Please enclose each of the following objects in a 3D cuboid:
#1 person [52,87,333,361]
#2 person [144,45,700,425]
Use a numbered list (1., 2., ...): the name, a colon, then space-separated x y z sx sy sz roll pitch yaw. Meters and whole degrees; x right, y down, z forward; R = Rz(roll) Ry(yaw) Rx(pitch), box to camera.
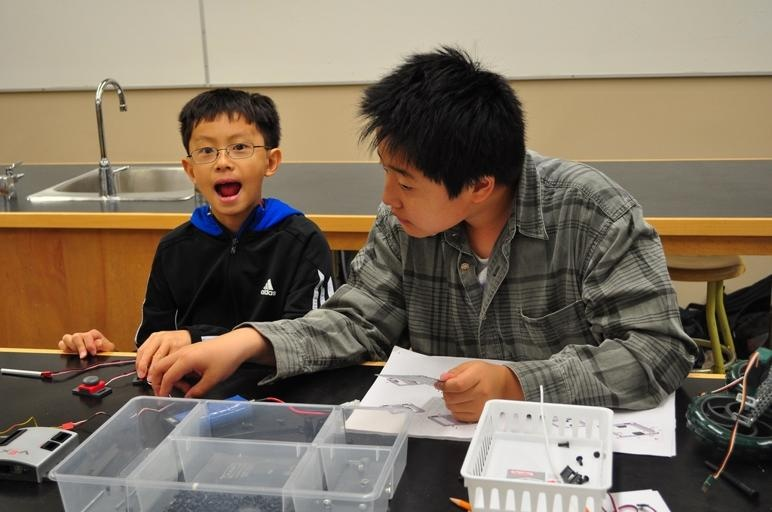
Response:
1. person: -0.543 -0.016 1.917 0.668 1.040 0.597 1 9 5
2. person: 0.039 -0.050 1.627 1.365 0.915 0.909 -5 14 -2
